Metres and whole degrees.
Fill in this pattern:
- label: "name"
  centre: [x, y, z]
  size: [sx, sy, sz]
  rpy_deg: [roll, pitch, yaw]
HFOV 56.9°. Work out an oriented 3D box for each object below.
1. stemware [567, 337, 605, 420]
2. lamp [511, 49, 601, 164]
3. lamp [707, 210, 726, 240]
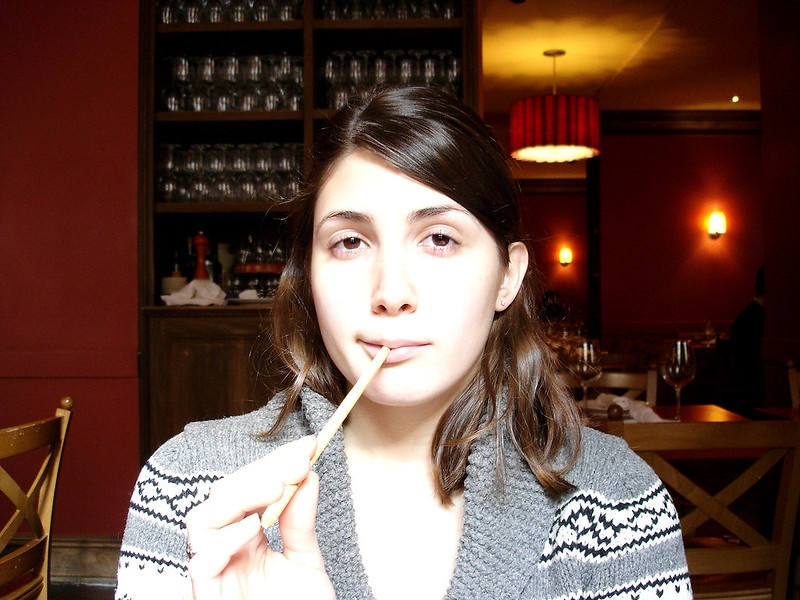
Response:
- label: "stemware"
  centre: [0.783, 0.331, 3.109]
  size: [0.138, 0.430, 0.140]
  rpy_deg: [5, 24, 22]
- label: "lamp"
  centre: [1.031, -1.235, 4.911]
  size: [0.474, 0.587, 0.492]
  rpy_deg: [2, -5, -24]
- label: "lamp"
  centre: [3.022, -0.707, 7.031]
  size: [0.182, 0.275, 0.068]
  rpy_deg: [0, 1, 9]
